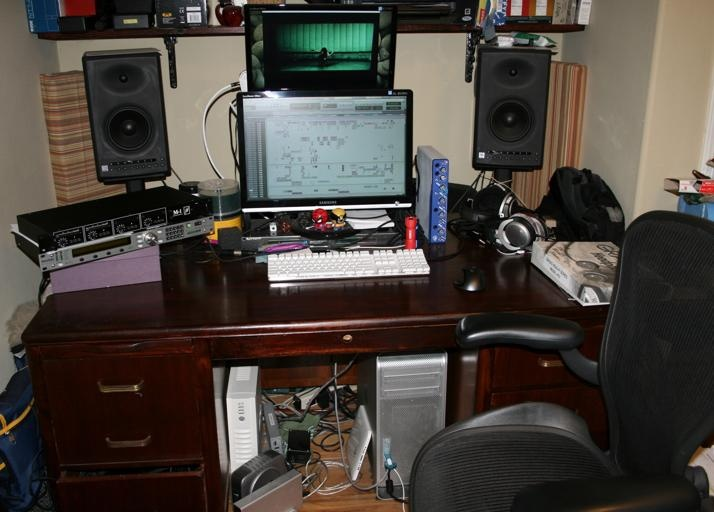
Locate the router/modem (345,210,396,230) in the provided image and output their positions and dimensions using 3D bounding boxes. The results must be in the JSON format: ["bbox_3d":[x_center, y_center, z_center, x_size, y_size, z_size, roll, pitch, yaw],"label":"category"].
[{"bbox_3d":[0.044,-0.155,2.457,0.108,0.027,0.118,-4,27,-10],"label":"router/modem"}]

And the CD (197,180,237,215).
[{"bbox_3d":[-0.549,-0.246,2.338,0.135,0.106,0.133,-10,18,-37],"label":"CD"}]

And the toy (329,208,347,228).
[{"bbox_3d":[-0.073,-0.153,2.374,0.058,0.074,0.073,0,4,13],"label":"toy"}]

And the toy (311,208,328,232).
[{"bbox_3d":[-0.147,-0.149,2.362,0.065,0.077,0.079,-3,-6,28],"label":"toy"}]
